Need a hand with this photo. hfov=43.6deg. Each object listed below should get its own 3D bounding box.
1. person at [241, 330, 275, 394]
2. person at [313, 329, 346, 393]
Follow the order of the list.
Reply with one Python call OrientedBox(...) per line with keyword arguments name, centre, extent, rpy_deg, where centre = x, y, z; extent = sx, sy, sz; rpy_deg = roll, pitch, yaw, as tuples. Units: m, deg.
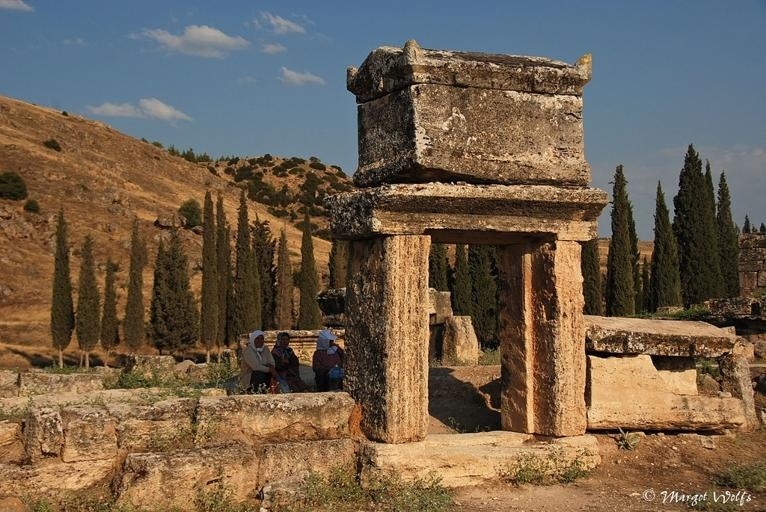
OrientedBox(name="person", centre=(-2.434, 2.047, 18.676), extent=(0.676, 1.223, 1.085), rpy_deg=(-1, -6, -7))
OrientedBox(name="person", centre=(-1.134, 2.179, 20.167), extent=(0.626, 1.277, 0.902), rpy_deg=(-1, -6, -6))
